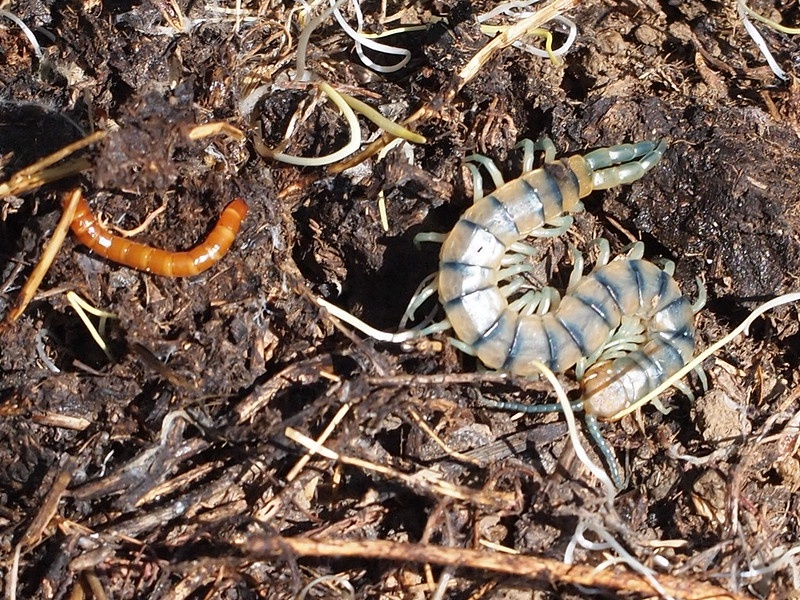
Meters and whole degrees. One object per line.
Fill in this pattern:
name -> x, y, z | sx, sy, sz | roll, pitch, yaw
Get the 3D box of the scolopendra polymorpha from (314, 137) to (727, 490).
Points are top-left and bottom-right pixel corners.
scolopendra polymorpha -> 0.805, -0.065, 5.085 | 2.207, 2.310, 1.655 | -4, 91, -39

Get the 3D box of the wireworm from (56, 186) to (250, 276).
wireworm -> -1.132, -0.327, 3.835 | 0.780, 0.401, 0.291 | 14, 45, -11
